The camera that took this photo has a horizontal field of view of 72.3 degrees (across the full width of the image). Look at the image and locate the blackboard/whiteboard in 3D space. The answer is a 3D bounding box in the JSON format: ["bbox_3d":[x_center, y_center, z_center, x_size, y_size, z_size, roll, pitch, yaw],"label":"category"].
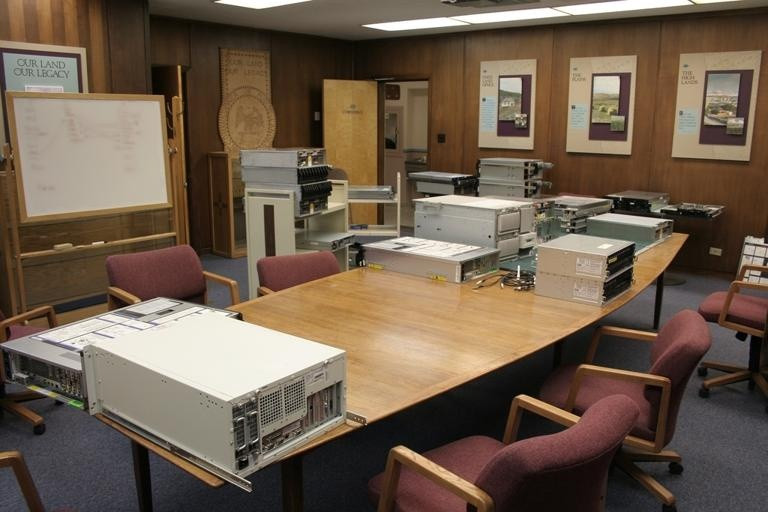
[{"bbox_3d":[-2.723,-0.904,4.806,0.050,1.018,1.334,8,12,42],"label":"blackboard/whiteboard"}]

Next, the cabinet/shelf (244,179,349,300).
[{"bbox_3d":[-0.822,-0.173,4.864,0.565,1.012,1.102,7,16,24],"label":"cabinet/shelf"}]

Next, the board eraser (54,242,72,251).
[{"bbox_3d":[-2.878,-0.078,4.714,0.104,0.052,0.158,9,18,29],"label":"board eraser"}]

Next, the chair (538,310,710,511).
[{"bbox_3d":[1.420,0.873,3.520,1.143,1.208,1.235,7,16,27],"label":"chair"}]
